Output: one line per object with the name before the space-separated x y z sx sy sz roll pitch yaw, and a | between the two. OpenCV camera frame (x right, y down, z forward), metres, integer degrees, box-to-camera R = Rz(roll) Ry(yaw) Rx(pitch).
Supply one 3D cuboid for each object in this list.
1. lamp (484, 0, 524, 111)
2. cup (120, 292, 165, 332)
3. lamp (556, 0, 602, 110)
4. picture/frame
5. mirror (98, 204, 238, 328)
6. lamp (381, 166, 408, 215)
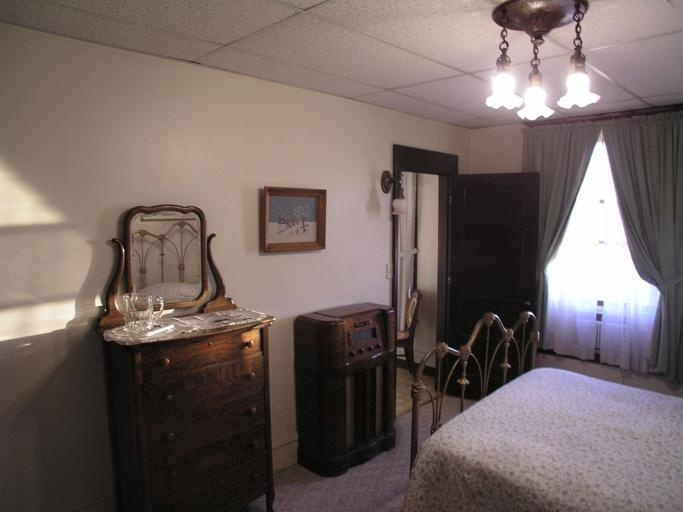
lamp | 1.123 -1.283 3.374 0.198 0.566 1.391 4 13 16
cup | -1.321 0.369 3.288 0.268 0.291 0.189 3 0 2
lamp | 1.592 -1.254 3.265 0.199 0.566 1.532 5 14 24
picture/frame | -0.448 -0.333 4.150 0.527 0.493 0.059 -3 5 -42
mirror | -1.277 0.075 3.477 0.765 0.699 0.081 -8 11 -42
lamp | 0.559 -0.648 4.997 0.228 0.469 0.337 7 14 31
